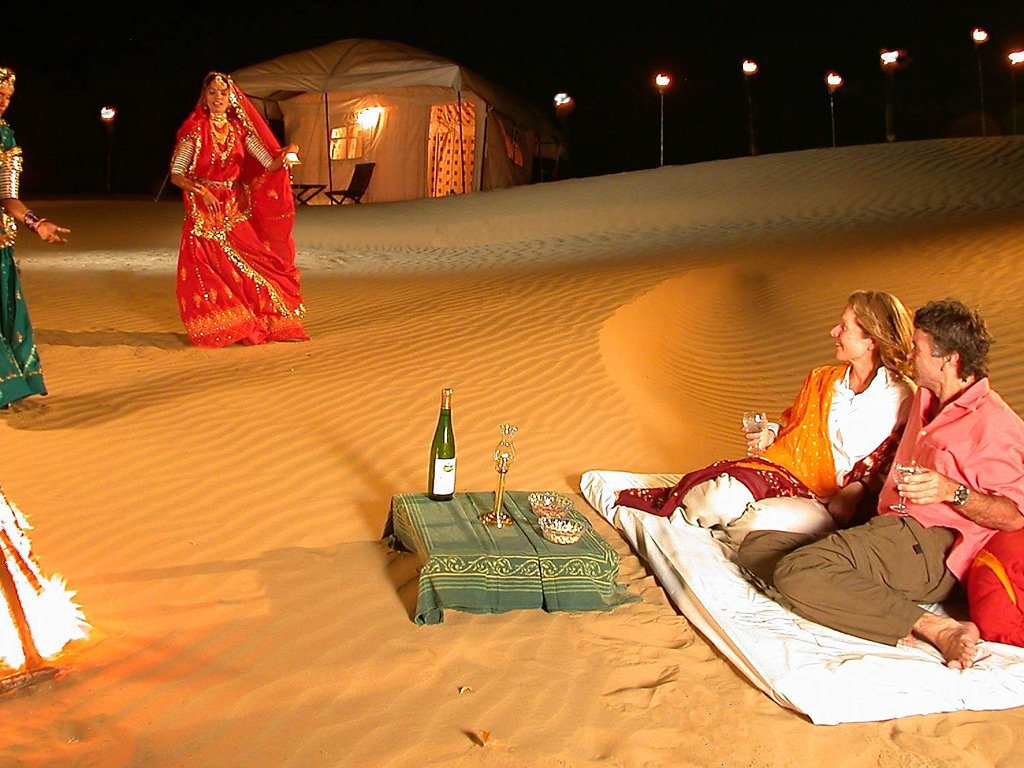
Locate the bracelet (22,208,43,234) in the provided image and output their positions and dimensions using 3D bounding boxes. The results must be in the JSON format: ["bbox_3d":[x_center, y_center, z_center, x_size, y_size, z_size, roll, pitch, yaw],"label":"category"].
[{"bbox_3d":[-3.946,-1.338,6.528,0.234,0.142,0.121,29,49,29],"label":"bracelet"}]

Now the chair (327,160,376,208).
[{"bbox_3d":[-4.555,-5.824,22.854,1.322,1.154,1.439,-4,9,-10],"label":"chair"}]

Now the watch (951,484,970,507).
[{"bbox_3d":[2.199,0.546,3.920,0.037,0.085,0.096,25,22,13],"label":"watch"}]

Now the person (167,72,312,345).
[{"bbox_3d":[-3.049,-1.854,8.705,1.342,2.862,0.708,-8,11,-28],"label":"person"}]

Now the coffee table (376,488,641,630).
[{"bbox_3d":[-0.023,0.926,4.783,1.375,0.297,1.222,4,14,-13],"label":"coffee table"}]

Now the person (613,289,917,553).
[{"bbox_3d":[1.312,0.212,5.025,2.024,1.192,1.096,-4,32,4],"label":"person"}]
